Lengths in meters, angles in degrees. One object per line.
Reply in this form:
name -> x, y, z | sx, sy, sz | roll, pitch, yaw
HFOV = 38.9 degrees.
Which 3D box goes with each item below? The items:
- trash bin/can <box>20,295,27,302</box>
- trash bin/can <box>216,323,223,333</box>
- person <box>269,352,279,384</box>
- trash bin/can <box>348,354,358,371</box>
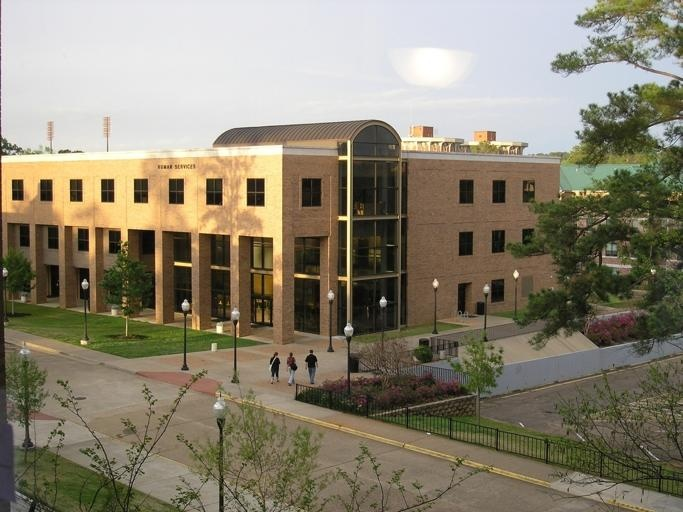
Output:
trash bin/can -> -25.106, 3.305, 76.368 | 0.435, 0.471, 0.835 | 1, 16, 8
trash bin/can -> -7.737, 4.559, 61.563 | 0.526, 0.758, 0.532 | 0, 10, -10
person -> -3.353, 5.591, 48.700 | 0.422, 1.468, 1.448 | -1, -4, -6
trash bin/can -> 0.714, 5.659, 50.903 | 0.432, 0.894, 1.184 | -2, -4, 2
